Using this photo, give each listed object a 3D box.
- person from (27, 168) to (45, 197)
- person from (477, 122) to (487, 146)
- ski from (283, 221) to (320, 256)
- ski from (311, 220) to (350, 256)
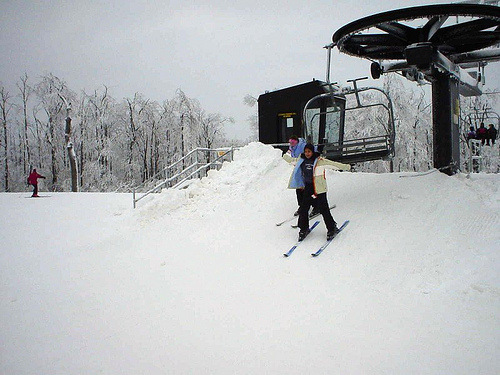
[{"bbox_3d":[-10.398,-0.231,21.072,0.686,1.288,2.805,-5,4,-26],"label":"person"},{"bbox_3d":[8.701,-2.020,16.299,0.327,0.810,1.489,-1,5,28],"label":"person"},{"bbox_3d":[1.206,1.199,9.992,0.141,0.125,1.272,38,41,9],"label":"ski"},{"bbox_3d":[1.815,1.151,9.683,0.109,0.072,0.968,-9,34,50],"label":"ski"}]
